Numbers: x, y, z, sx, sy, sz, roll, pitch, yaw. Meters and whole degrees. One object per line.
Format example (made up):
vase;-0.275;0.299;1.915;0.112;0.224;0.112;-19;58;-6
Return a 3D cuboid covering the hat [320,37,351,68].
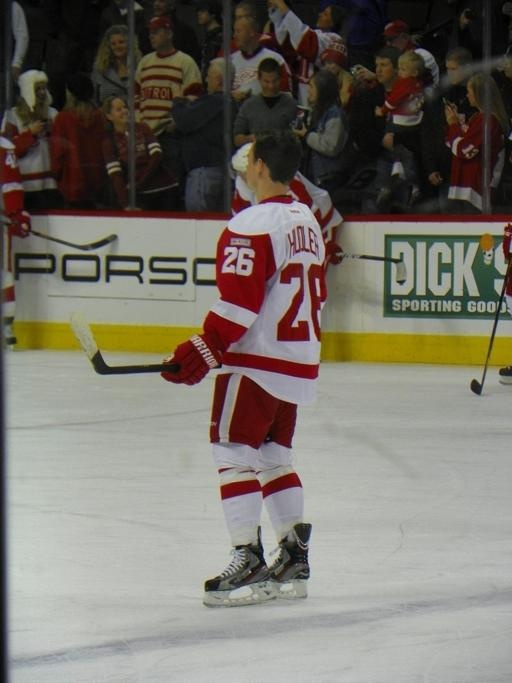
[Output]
hat;0.593;-2.080;8.226;0.200;0.189;0.196;11;5;39

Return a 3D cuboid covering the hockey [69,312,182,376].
hockey;-0.313;0.012;2.541;0.209;0.087;0.127;1;0;-35

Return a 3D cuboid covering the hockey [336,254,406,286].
hockey;0.944;-0.505;8.039;0.317;0.088;0.292;5;-26;7

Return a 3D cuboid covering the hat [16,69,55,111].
hat;-1.711;-1.916;8.676;0.267;0.321;0.246;16;39;32

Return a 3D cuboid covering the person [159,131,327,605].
person;0.012;0.047;2.767;0.307;1.129;0.480;3;7;26

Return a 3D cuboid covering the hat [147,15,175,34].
hat;-0.685;-2.298;8.241;0.149;0.077;0.098;7;14;-20

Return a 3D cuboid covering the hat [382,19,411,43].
hat;1.024;-2.216;8.110;0.180;0.154;0.130;5;7;19
